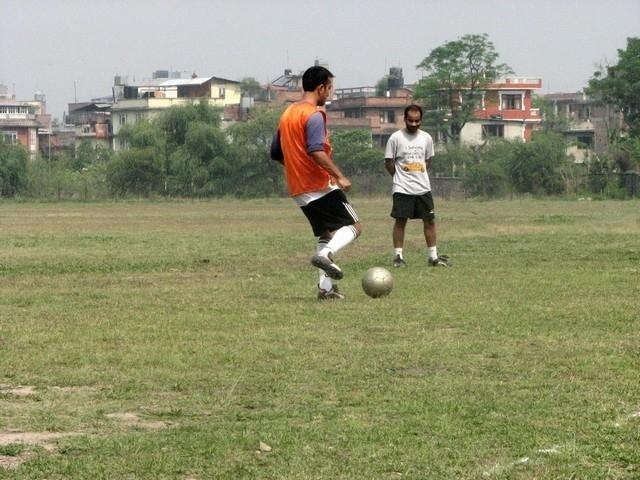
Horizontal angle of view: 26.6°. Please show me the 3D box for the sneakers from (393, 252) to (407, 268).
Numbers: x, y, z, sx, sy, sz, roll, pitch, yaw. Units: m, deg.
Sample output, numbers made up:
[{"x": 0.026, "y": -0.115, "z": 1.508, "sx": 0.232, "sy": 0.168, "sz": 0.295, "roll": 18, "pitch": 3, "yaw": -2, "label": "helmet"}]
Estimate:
[{"x": 1.286, "y": 0.326, "z": 21.556, "sx": 0.200, "sy": 0.193, "sz": 0.460, "roll": -1, "pitch": 4, "yaw": 3, "label": "sneakers"}]

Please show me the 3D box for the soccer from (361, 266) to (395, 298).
[{"x": 0.872, "y": 0.646, "z": 19.220, "sx": 0.420, "sy": 0.456, "sz": 0.421, "roll": 25, "pitch": 4, "yaw": 18, "label": "soccer"}]

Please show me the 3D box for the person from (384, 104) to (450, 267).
[{"x": 1.533, "y": -0.908, "z": 21.914, "sx": 0.876, "sy": 2.603, "sz": 1.253, "roll": -1, "pitch": 4, "yaw": 5, "label": "person"}]

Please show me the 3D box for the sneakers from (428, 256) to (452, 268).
[{"x": 1.930, "y": 0.353, "z": 21.598, "sx": 0.403, "sy": 0.177, "sz": 0.138, "roll": -1, "pitch": 4, "yaw": 4, "label": "sneakers"}]

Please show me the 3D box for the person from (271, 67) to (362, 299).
[{"x": -0.029, "y": -0.797, "z": 18.903, "sx": 1.166, "sy": 3.289, "sz": 1.184, "roll": -1, "pitch": 4, "yaw": -2, "label": "person"}]
